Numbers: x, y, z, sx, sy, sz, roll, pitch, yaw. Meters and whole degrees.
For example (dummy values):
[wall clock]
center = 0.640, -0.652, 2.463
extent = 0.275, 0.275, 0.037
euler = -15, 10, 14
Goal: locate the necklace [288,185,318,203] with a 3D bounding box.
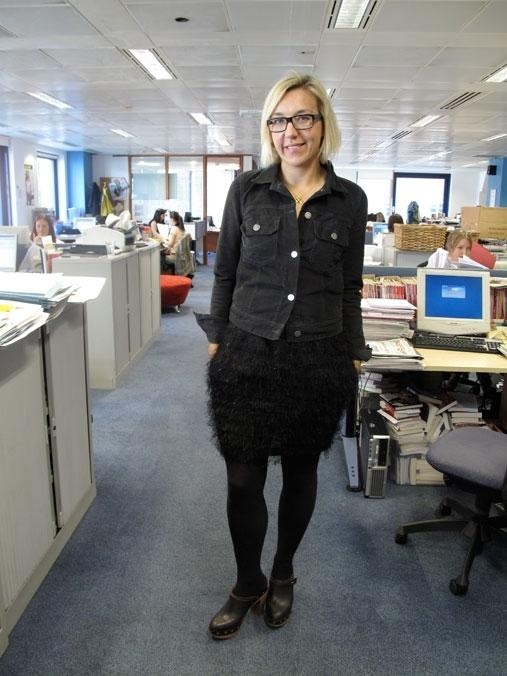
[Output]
[necklace]
center = 0.106, -0.304, 1.028
extent = 0.065, 0.040, 0.050
euler = 3, 7, 7

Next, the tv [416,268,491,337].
[tv]
center = 0.965, -0.164, 2.317
extent = 0.342, 0.327, 0.182
euler = 0, 0, 2

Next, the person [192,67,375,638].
[person]
center = 0.079, 0.116, 1.146
extent = 0.372, 1.358, 0.276
euler = -1, 8, -21

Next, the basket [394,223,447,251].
[basket]
center = 1.243, -0.745, 3.673
extent = 0.228, 0.136, 0.300
euler = 0, 7, 1

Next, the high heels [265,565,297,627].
[high heels]
center = 0.072, 0.699, 1.318
extent = 0.062, 0.061, 0.159
euler = -1, 6, 8
